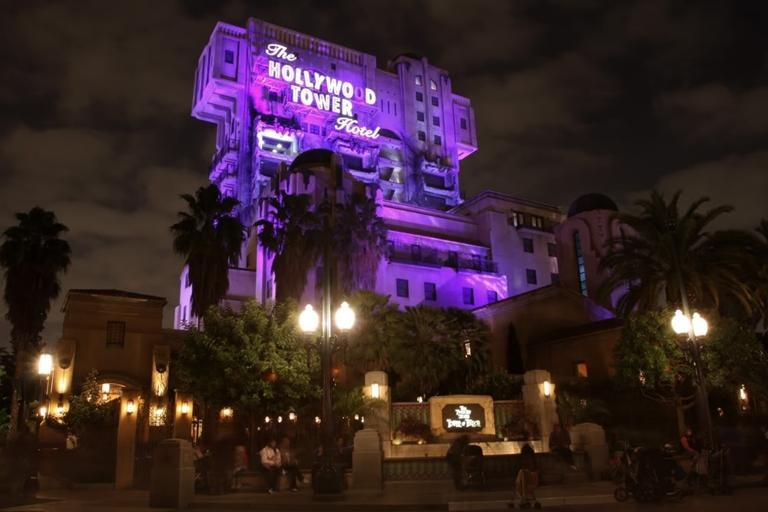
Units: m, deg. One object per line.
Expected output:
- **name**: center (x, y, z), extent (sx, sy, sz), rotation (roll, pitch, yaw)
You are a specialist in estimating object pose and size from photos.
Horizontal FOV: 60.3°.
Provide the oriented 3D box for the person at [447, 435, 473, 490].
- **person**: center (3.105, 8.714, 27.934), extent (0.416, 1.768, 1.262), rotation (2, -8, 14)
